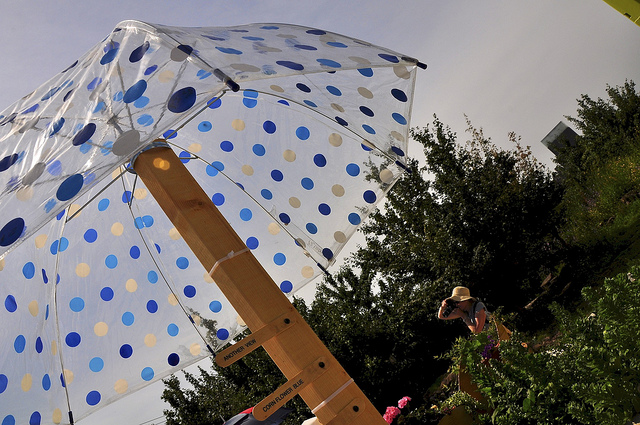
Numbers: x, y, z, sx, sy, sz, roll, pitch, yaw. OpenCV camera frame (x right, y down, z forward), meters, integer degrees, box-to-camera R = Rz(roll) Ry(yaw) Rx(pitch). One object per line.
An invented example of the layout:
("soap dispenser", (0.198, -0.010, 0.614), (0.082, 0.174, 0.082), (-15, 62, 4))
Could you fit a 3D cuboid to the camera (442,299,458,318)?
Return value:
("camera", (2.033, 1.510, 7.742), (0.345, 0.095, 0.296), (-57, 2, 2))
